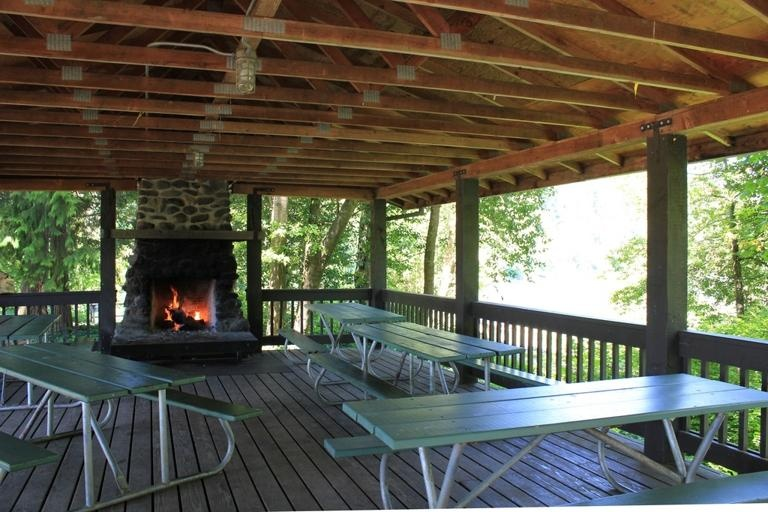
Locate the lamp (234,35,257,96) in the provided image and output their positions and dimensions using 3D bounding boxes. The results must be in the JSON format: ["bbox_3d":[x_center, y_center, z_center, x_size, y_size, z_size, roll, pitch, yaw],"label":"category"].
[{"bbox_3d":[-1.114,-1.584,4.451,0.196,0.484,0.173,-4,13,-26],"label":"lamp"}]
